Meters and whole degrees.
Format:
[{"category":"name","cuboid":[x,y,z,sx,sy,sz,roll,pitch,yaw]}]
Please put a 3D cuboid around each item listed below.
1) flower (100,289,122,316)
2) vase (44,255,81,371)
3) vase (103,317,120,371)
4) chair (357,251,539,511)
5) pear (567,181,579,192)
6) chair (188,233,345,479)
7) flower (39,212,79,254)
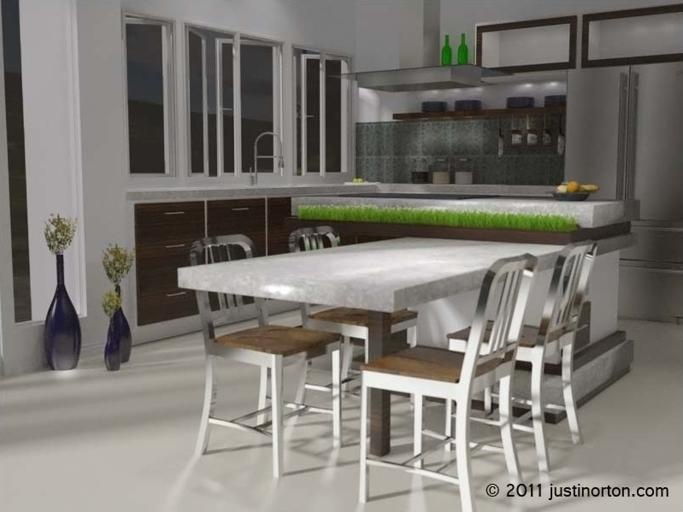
[{"category":"flower","cuboid":[-1.755,0.367,4.025,0.122,0.191,0.173,-4,8,-29]},{"category":"vase","cuboid":[-2.145,0.420,3.990,0.278,0.891,0.198,5,9,35]},{"category":"vase","cuboid":[-1.757,0.649,4.024,0.115,0.431,0.129,-3,8,-21]},{"category":"chair","cuboid":[0.611,0.493,2.874,0.966,1.688,0.929,3,4,31]},{"category":"pear","cuboid":[1.784,-0.531,4.051,0.089,0.075,0.200,4,7,27]},{"category":"chair","cuboid":[-0.379,0.458,2.692,0.693,1.130,0.677,-3,5,-43]},{"category":"flower","cuboid":[-2.159,-0.159,4.068,0.242,0.328,0.531,-4,8,-30]}]
